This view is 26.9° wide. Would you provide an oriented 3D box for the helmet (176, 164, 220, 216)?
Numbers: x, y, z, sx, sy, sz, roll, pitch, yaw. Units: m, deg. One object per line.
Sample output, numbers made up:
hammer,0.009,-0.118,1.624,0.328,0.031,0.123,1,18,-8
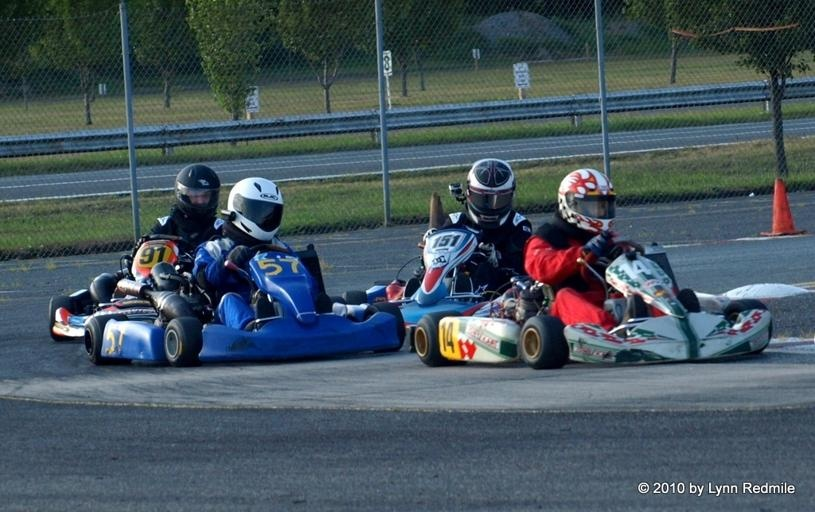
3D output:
helmet,-2.284,-0.700,18.862,0.522,0.523,0.608,2,12,-13
